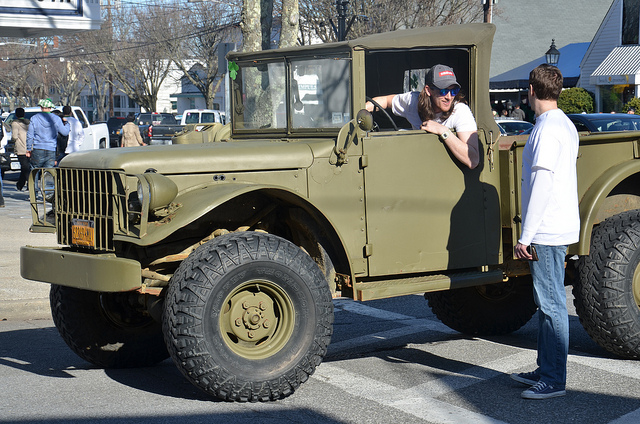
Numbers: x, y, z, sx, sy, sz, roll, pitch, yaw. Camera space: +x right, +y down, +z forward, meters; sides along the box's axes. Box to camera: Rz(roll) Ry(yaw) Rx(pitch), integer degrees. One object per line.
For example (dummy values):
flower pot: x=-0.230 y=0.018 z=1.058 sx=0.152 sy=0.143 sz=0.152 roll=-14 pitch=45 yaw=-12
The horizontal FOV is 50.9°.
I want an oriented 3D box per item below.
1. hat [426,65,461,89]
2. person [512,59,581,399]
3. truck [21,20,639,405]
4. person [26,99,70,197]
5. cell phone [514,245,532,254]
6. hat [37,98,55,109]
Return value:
hat: x=1.142 y=-1.245 z=6.204 sx=0.180 sy=0.168 sz=0.259 roll=-8 pitch=13 yaw=-34
person: x=1.966 y=0.184 z=5.767 sx=0.506 sy=2.840 sz=0.482 roll=2 pitch=7 yaw=17
truck: x=0.134 y=-0.074 z=6.156 sx=5.384 sy=3.323 sz=2.145 roll=-3 pitch=8 yaw=-21
person: x=-6.666 y=-1.500 z=16.234 sx=0.947 sy=2.485 sz=0.620 roll=1 pitch=23 yaw=-32
cell phone: x=1.739 y=0.322 z=5.711 sx=0.101 sy=0.031 sz=0.109 roll=2 pitch=3 yaw=-18
hat: x=-6.530 y=-2.552 z=15.862 sx=0.336 sy=0.202 sz=0.503 roll=1 pitch=5 yaw=-24
